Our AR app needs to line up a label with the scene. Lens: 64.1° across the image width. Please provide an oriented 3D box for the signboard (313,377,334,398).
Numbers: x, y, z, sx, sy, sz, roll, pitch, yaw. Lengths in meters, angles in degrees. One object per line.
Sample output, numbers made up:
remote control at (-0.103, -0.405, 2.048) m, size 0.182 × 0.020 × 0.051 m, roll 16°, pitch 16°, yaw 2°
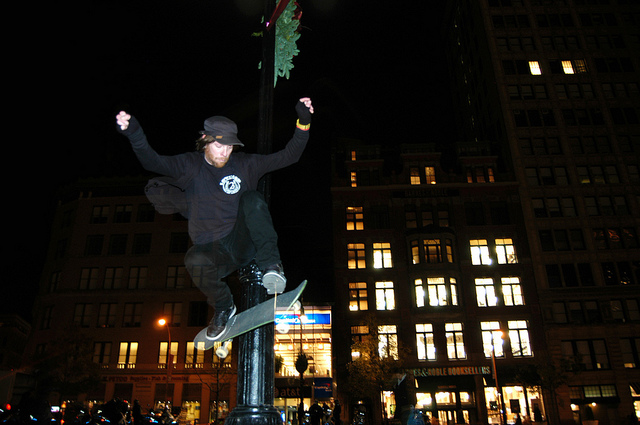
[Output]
signboard at (0.441, 20.957, 61.003) m, size 2.114 × 1.874 × 1.015 m, roll 1°, pitch -28°, yaw -1°
